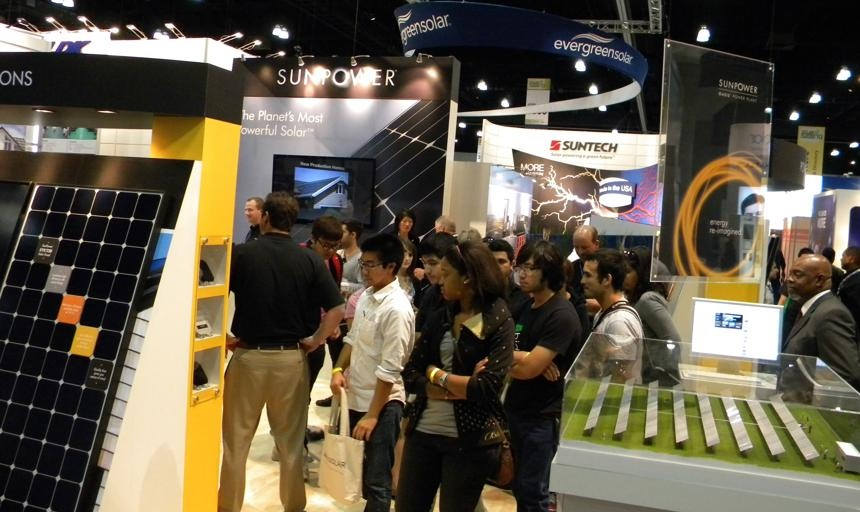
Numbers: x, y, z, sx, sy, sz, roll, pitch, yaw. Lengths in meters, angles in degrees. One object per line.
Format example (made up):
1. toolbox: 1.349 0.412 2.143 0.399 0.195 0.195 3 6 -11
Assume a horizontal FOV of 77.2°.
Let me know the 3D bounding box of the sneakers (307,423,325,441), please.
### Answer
1. sneakers: -1.130 1.759 5.335 0.240 0.110 0.297 7 -8 -12

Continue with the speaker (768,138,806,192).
1. speaker: 7.805 -2.100 11.841 0.616 1.216 2.615 3 2 34

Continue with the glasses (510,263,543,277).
1. glasses: 0.680 0.093 3.798 0.168 0.052 0.168 10 -13 -32

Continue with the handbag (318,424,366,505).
1. handbag: -0.584 1.370 3.520 0.355 0.339 0.145 3 1 34

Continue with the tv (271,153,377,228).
1. tv: -1.408 -0.955 7.728 1.339 0.863 0.055 3 1 8

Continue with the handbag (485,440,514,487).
1. handbag: 0.420 1.238 3.191 0.132 0.256 0.243 2 1 7

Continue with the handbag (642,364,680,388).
1. handbag: 1.211 0.640 2.853 0.188 0.105 0.053 2 1 -3

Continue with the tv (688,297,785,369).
1. tv: 1.874 0.479 3.324 0.500 0.353 0.043 6 -11 17

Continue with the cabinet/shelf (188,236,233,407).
1. cabinet/shelf: -1.426 0.394 3.499 0.168 1.058 0.388 2 1 17

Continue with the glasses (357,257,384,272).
1. glasses: -0.389 0.055 3.607 0.135 0.064 0.029 3 1 24
